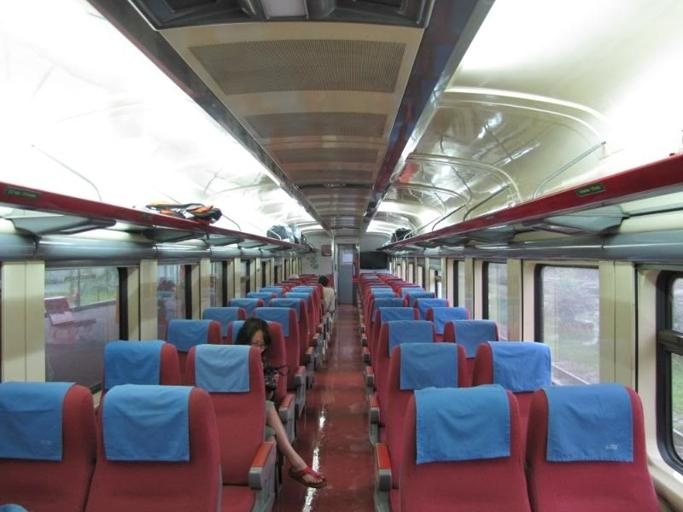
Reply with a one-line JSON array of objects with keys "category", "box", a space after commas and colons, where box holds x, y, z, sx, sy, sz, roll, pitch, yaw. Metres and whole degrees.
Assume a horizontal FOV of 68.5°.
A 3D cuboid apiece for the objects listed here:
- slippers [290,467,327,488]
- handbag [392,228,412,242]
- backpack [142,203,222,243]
[{"category": "slippers", "box": [-0.353, 2.253, 5.150, 0.316, 0.102, 0.170, -2, -1, 26]}, {"category": "handbag", "box": [2.037, -0.730, 16.847, 0.493, 0.227, 0.746, -6, -8, -1]}, {"category": "backpack", "box": [-2.096, -0.528, 6.690, 0.865, 0.227, 0.461, 12, -8, -10]}]
